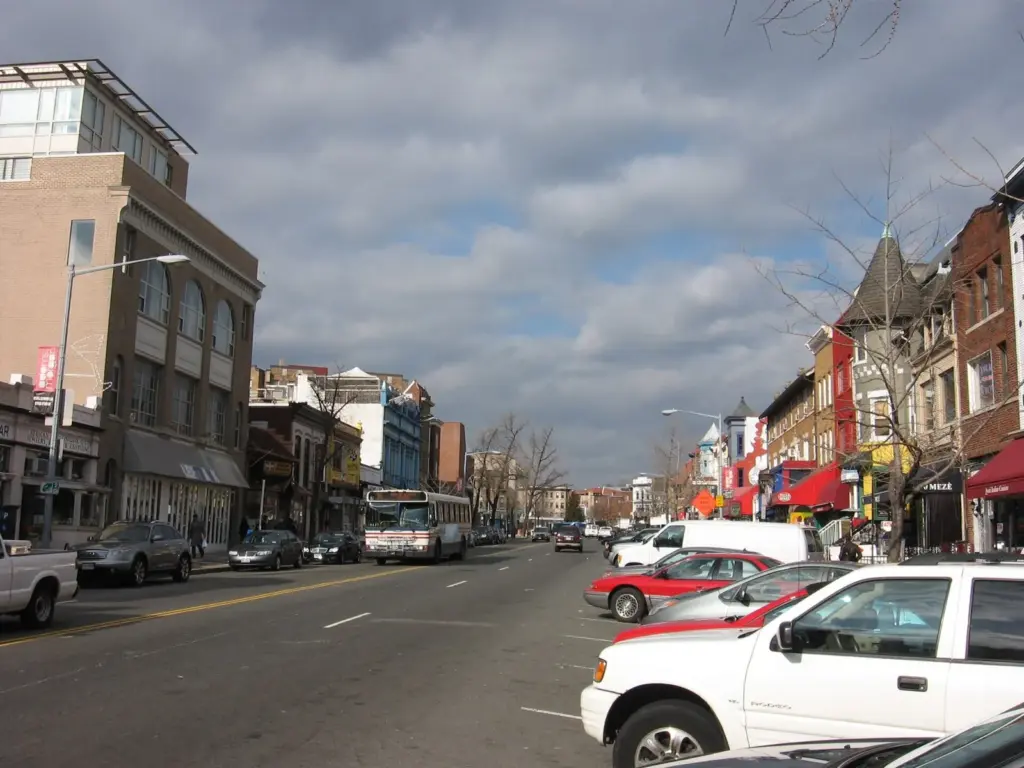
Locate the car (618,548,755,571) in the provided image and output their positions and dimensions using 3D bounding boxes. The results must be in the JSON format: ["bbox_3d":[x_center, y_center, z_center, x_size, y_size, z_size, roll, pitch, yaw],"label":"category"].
[{"bbox_3d":[3.842,3.980,20.409,2.533,0.782,1.518,-5,-12,9],"label":"car"}]

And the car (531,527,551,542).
[{"bbox_3d":[3.057,15.439,91.935,1.518,1.108,3.297,-2,-15,5],"label":"car"}]

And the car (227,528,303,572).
[{"bbox_3d":[-9.915,6.654,36.064,1.678,1.594,3.224,-6,-13,18],"label":"car"}]

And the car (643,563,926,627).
[{"bbox_3d":[4.235,3.192,14.708,3.635,1.288,1.860,0,-17,-1],"label":"car"}]

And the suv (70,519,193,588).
[{"bbox_3d":[-10.967,4.833,25.754,1.320,1.855,3.940,-5,-13,13],"label":"suv"}]

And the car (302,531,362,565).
[{"bbox_3d":[-8.597,7.966,43.551,1.636,1.477,2.756,-10,-15,34],"label":"car"}]

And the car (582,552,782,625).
[{"bbox_3d":[3.455,4.175,19.161,3.523,1.164,1.725,-4,-11,18],"label":"car"}]
